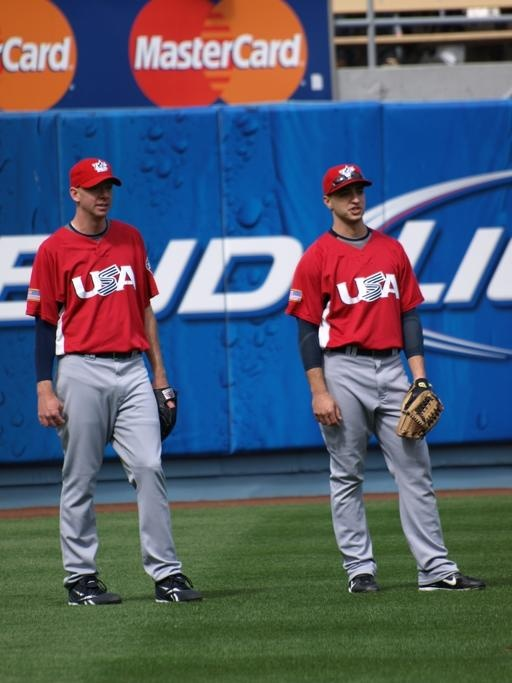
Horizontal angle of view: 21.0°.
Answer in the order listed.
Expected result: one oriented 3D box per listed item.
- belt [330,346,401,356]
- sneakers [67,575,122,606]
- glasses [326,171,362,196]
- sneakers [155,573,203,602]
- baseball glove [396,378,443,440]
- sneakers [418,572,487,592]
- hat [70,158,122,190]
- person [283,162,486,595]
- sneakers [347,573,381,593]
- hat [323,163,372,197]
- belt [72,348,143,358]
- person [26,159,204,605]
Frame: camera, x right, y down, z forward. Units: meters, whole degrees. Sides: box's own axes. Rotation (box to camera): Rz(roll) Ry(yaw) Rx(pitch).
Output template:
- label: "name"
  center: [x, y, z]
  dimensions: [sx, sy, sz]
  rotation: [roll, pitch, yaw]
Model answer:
- label: "belt"
  center: [0.438, 0.046, 5.668]
  dimensions: [0.288, 0.058, 0.070]
  rotation: [-2, 3, -2]
- label: "sneakers"
  center: [-0.691, 1.036, 5.659]
  dimensions: [0.275, 0.125, 0.102]
  rotation: [-3, -6, 22]
- label: "glasses"
  center: [0.351, -0.669, 5.763]
  dimensions: [0.095, 0.069, 0.132]
  rotation: [-12, -14, -20]
- label: "sneakers"
  center: [-0.330, 1.005, 5.584]
  dimensions: [0.230, 0.111, 0.089]
  rotation: [-10, -10, 36]
- label: "baseball glove"
  center: [0.660, 0.287, 5.626]
  dimensions: [0.100, 0.173, 0.242]
  rotation: [6, 49, 49]
- label: "sneakers"
  center: [0.807, 0.995, 5.618]
  dimensions: [0.260, 0.113, 0.097]
  rotation: [-3, -3, 4]
- label: "hat"
  center: [-0.693, -0.672, 5.705]
  dimensions: [0.180, 0.100, 0.137]
  rotation: [-4, 6, 43]
- label: "person"
  center: [0.479, 0.256, 5.696]
  dimensions: [0.684, 1.569, 0.268]
  rotation: [-2, 3, 1]
- label: "sneakers"
  center: [0.428, 1.006, 5.682]
  dimensions: [0.151, 0.083, 0.074]
  rotation: [0, 3, 33]
- label: "hat"
  center: [0.349, -0.674, 5.799]
  dimensions: [0.125, 0.096, 0.179]
  rotation: [-8, 0, -20]
- label: "belt"
  center: [-0.629, 0.062, 5.632]
  dimensions: [0.290, 0.040, 0.101]
  rotation: [-3, 3, -11]
- label: "person"
  center: [-0.625, 0.169, 5.619]
  dimensions: [0.608, 1.822, 0.352]
  rotation: [-3, 3, -11]
